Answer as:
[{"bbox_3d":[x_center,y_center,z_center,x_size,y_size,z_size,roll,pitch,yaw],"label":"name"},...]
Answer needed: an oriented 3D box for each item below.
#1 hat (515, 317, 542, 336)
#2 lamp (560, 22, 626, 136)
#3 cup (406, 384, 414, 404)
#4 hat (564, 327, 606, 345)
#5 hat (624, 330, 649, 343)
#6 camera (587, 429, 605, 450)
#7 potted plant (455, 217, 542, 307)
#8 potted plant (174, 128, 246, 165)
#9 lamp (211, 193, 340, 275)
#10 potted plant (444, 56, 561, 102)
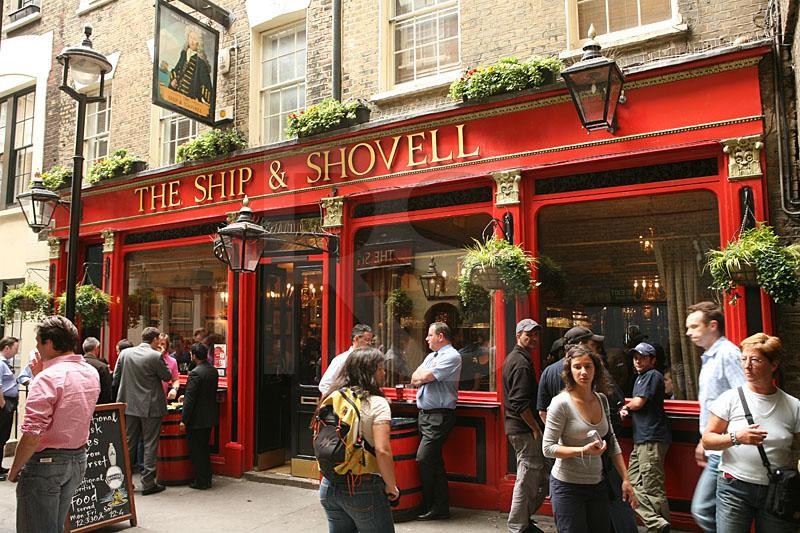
[{"bbox_3d":[1.630,0.769,9.852,0.191,0.132,0.248,7,-28,-34],"label":"hat"},{"bbox_3d":[2.556,-2.320,9.691,0.858,1.089,0.555,-5,6,-37],"label":"lamp"},{"bbox_3d":[0.159,1.893,11.221,0.157,0.237,0.072,-8,-24,24],"label":"cup"},{"bbox_3d":[2.218,0.815,9.004,0.384,0.150,0.243,-3,-1,-8],"label":"hat"},{"bbox_3d":[3.213,0.961,10.270,0.214,0.077,0.197,-9,4,1],"label":"hat"},{"bbox_3d":[2.047,1.802,7.876,0.174,0.168,0.224,-1,5,-1],"label":"camera"},{"bbox_3d":[1.369,-0.045,10.791,1.200,1.206,1.186,-1,-2,6],"label":"potted plant"},{"bbox_3d":[-3.224,-2.080,13.026,1.292,0.597,0.513,0,5,19],"label":"potted plant"},{"bbox_3d":[-2.168,-0.431,11.763,2.157,1.225,1.031,3,-6,-24],"label":"lamp"},{"bbox_3d":[1.509,-2.690,10.745,1.080,0.323,0.766,-8,17,23],"label":"potted plant"}]
